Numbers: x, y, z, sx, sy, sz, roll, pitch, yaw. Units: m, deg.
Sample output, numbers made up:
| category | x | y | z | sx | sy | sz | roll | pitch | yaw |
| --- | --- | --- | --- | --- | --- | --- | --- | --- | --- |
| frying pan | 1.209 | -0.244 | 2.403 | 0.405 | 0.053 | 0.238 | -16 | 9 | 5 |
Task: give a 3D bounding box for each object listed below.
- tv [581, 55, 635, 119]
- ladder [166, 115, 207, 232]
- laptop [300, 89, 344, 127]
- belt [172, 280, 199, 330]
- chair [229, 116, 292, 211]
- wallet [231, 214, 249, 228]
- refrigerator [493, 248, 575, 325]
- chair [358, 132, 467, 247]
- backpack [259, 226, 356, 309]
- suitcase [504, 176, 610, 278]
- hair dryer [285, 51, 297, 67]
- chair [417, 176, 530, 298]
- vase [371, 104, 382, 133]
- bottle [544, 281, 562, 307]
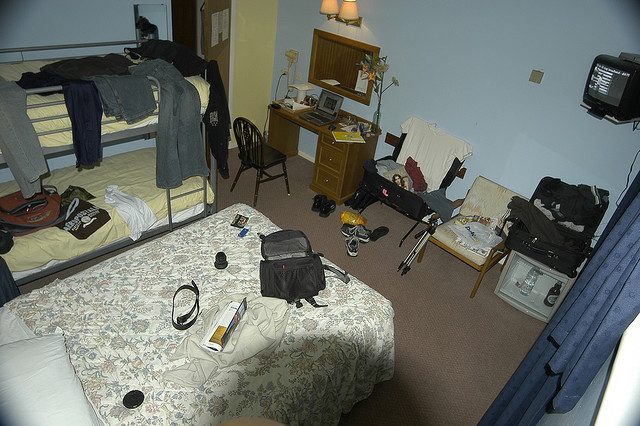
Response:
| category | x | y | z | sx | sy | sz | roll | pitch | yaw |
| --- | --- | --- | --- | --- | --- | --- | --- | --- | --- |
| tv | 2.976 | -1.305 | 4.281 | 0.317 | 0.568 | 0.563 | -7 | 36 | -13 |
| ladder | -1.588 | -0.452 | 4.939 | 0.426 | 1.320 | 0.484 | -15 | 31 | -37 |
| laptop | 0.031 | -1.585 | 6.272 | 0.505 | 0.377 | 0.551 | 29 | 36 | 31 |
| belt | -1.170 | 0.835 | 3.696 | 0.188 | 0.321 | 0.329 | -1 | 25 | -8 |
| chair | -0.838 | -0.921 | 6.059 | 0.871 | 1.468 | 0.844 | 29 | 38 | 29 |
| wallet | -0.882 | 0.084 | 4.565 | 0.128 | 0.031 | 0.123 | 19 | 53 | 3 |
| refrigerator | 2.431 | 0.815 | 4.691 | 0.535 | 0.742 | 0.398 | 28 | 46 | 19 |
| chair | 1.283 | -0.302 | 5.616 | 1.086 | 1.014 | 0.772 | 40 | 37 | 19 |
| backpack | -0.249 | 0.553 | 4.090 | 0.633 | 0.303 | 0.822 | -18 | 60 | -27 |
| suitcase | 2.701 | 0.120 | 4.758 | 0.811 | 0.846 | 0.792 | 26 | 35 | 28 |
| hair dryer | -0.481 | -2.508 | 6.765 | 0.195 | 0.192 | 0.072 | 9 | 6 | 24 |
| chair | 2.001 | 0.218 | 5.441 | 1.375 | 1.501 | 1.209 | -19 | 40 | -38 |
| vase | 0.842 | -1.407 | 6.160 | 0.117 | 0.375 | 0.239 | 11 | 30 | 5 |
| bottle | 2.691 | 0.932 | 4.813 | 0.134 | 0.273 | 0.062 | 24 | 15 | 32 |
